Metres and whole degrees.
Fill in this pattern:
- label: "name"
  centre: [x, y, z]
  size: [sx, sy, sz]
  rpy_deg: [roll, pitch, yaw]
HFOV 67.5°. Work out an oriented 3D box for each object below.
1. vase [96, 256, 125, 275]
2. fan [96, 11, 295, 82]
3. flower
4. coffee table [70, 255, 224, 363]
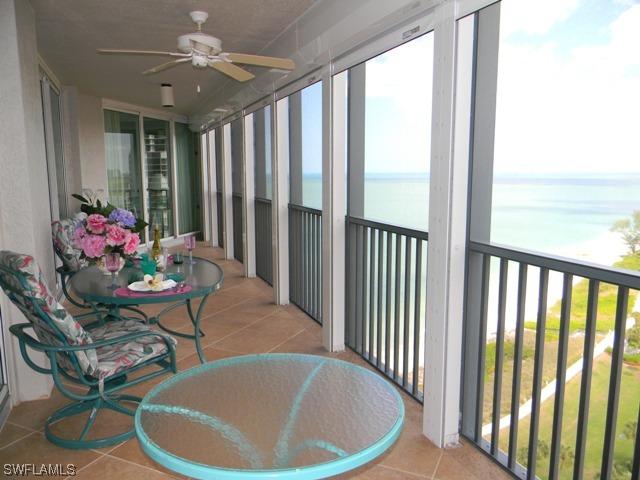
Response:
- label: "vase"
  centre: [-1.744, 0.208, 4.015]
  size: [0.172, 0.144, 0.187]
  rpy_deg: [4, 6, 32]
- label: "fan"
  centre: [-0.850, -1.481, 3.495]
  size: [1.291, 0.369, 1.109]
  rpy_deg: [-5, 7, -19]
- label: "flower"
  centre: [-1.839, -0.104, 4.201]
  size: [0.567, 0.635, 0.685]
  rpy_deg: [-4, 12, -25]
- label: "coffee table"
  centre: [-1.395, 0.390, 4.141]
  size: [1.239, 0.707, 1.174]
  rpy_deg: [0, 6, 2]
